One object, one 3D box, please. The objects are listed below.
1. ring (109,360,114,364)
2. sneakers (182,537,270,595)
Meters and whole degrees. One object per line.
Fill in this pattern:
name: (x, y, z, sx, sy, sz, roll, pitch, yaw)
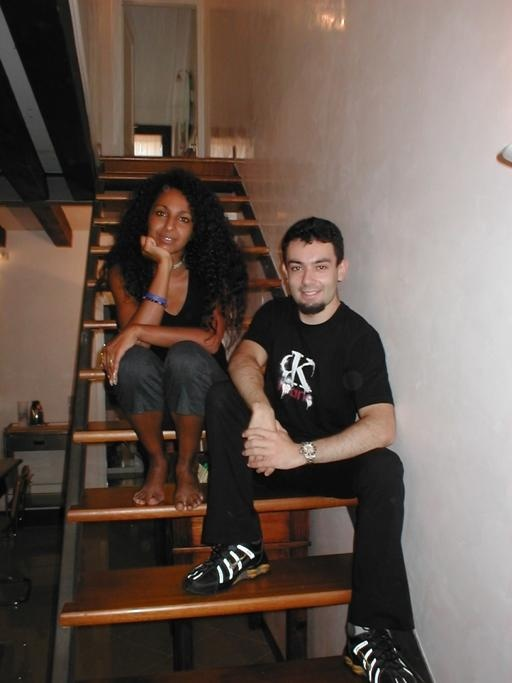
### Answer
ring: (-0.406, 0.059, 1.576, 0.012, 0.015, 0.005, -7, -6, 28)
sneakers: (-0.070, 0.540, 1.362, 0.207, 0.092, 0.079, 3, -4, -39)
